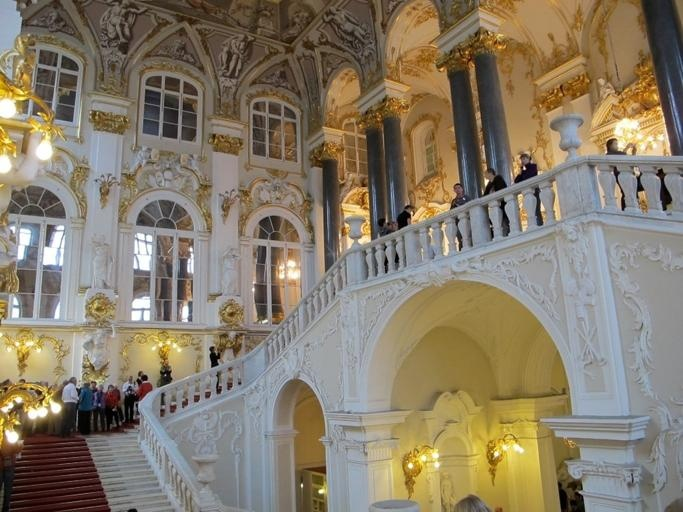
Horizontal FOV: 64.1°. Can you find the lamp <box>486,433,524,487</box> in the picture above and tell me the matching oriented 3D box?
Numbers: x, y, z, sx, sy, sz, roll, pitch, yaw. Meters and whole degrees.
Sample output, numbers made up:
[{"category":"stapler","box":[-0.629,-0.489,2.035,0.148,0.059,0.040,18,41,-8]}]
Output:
[{"category":"lamp","box":[3.344,4.093,11.104,0.726,1.015,0.239,-7,-43,21]}]

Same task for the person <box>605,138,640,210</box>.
[{"category":"person","box":[4.098,-1.103,7.860,0.375,1.168,0.321,-9,-2,11]}]
